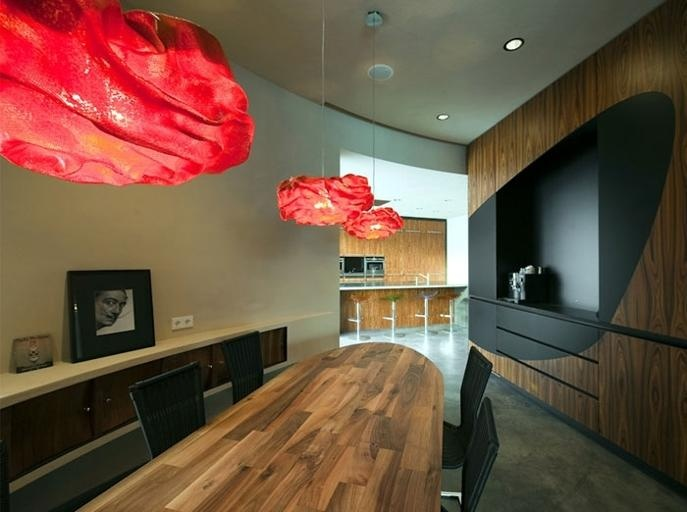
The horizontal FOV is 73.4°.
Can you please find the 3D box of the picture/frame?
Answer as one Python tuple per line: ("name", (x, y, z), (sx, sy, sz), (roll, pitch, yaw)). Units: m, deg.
("picture/frame", (-1.620, 0.386, 3.247), (0.533, 0.683, 0.054), (-3, 25, -32))
